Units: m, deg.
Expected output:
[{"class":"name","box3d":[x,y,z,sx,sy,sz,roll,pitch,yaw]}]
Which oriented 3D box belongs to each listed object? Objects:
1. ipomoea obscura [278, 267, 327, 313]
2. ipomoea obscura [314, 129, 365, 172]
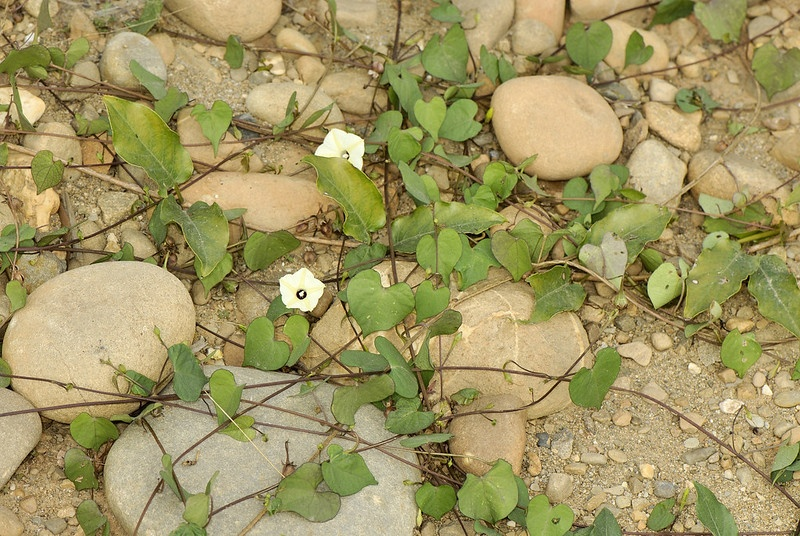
[{"class":"ipomoea obscura","box3d":[-0.412,0.112,3.174,0.161,0.221,0.151,35,69,12]},{"class":"ipomoea obscura","box3d":[-0.253,-0.496,3.248,0.191,0.120,0.138,0,67,-4]}]
